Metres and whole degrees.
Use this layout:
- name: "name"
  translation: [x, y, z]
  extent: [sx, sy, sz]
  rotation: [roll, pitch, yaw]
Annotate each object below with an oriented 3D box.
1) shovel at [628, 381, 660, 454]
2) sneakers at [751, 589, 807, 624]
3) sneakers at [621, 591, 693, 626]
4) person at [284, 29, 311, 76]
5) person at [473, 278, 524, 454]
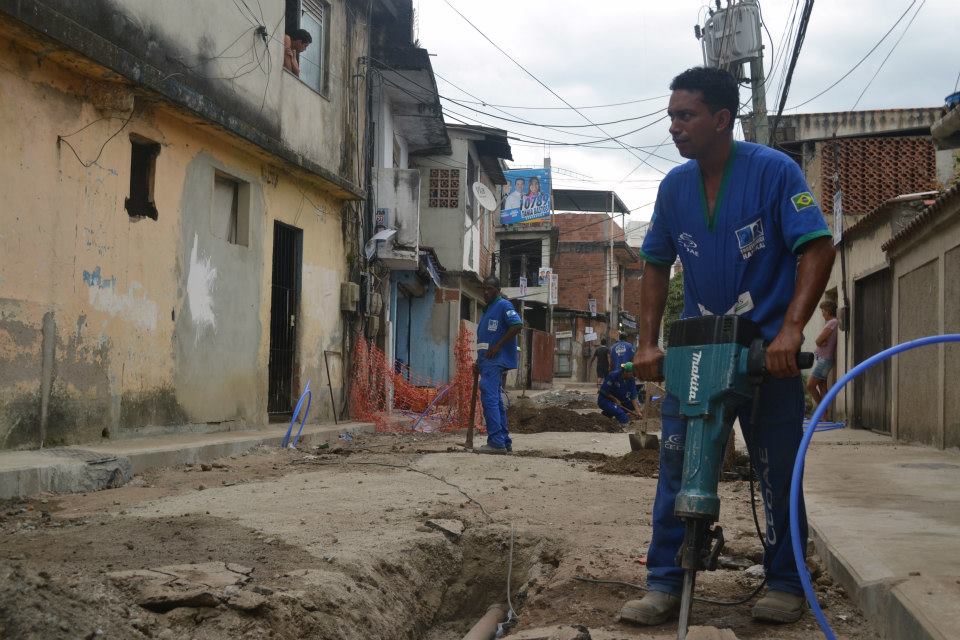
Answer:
- name: "shovel"
  translation: [2.125, 1.329, 12.820]
  extent: [0.320, 0.884, 0.221]
  rotation: [3, -45, 7]
- name: "sneakers"
  translation: [2.088, 1.977, 6.874]
  extent: [0.383, 0.168, 0.169]
  rotation: [-1, 1, -7]
- name: "sneakers"
  translation: [1.210, 2.005, 6.928]
  extent: [0.427, 0.193, 0.182]
  rotation: [6, -12, -33]
- name: "person"
  translation: [-2.878, -4.196, 15.431]
  extent: [0.270, 0.740, 0.605]
  rotation: [0, -8, 7]
- name: "person"
  translation: [0.243, 0.590, 13.724]
  extent: [0.597, 2.503, 1.498]
  rotation: [0, -8, 1]
